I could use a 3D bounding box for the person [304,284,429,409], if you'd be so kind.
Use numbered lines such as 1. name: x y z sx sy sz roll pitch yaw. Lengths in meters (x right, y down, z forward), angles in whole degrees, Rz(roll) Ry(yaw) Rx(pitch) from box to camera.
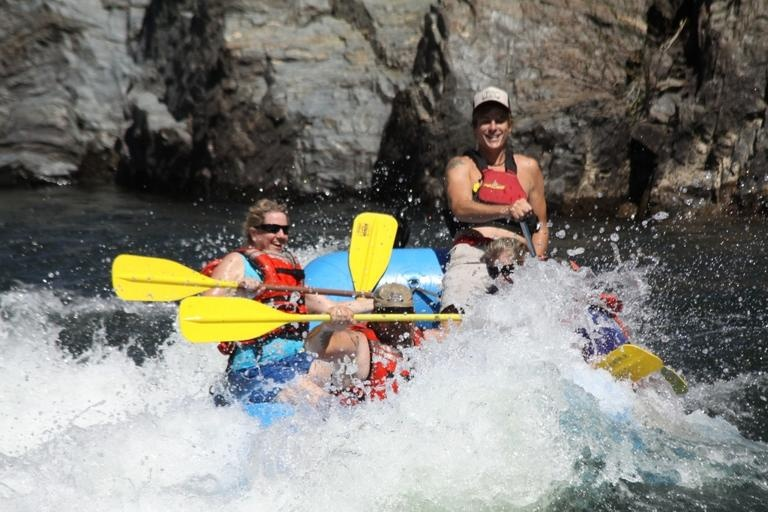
1. person: -0.154 0.806 8.386 0.789 0.717 0.282 -30 13 -16

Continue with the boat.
1. boat: -0.202 0.992 9.436 2.362 0.730 1.792 -7 26 -16

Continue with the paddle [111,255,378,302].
1. paddle: -1.201 0.272 9.147 2.573 0.122 0.432 9 60 -39

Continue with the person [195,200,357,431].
1. person: -0.965 0.596 8.813 1.207 0.962 2.592 18 42 -29

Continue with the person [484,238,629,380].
1. person: 1.510 0.355 8.849 1.451 0.601 0.585 23 43 17

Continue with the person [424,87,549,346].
1. person: 1.102 -0.104 9.315 1.251 2.789 1.105 -4 10 -32
